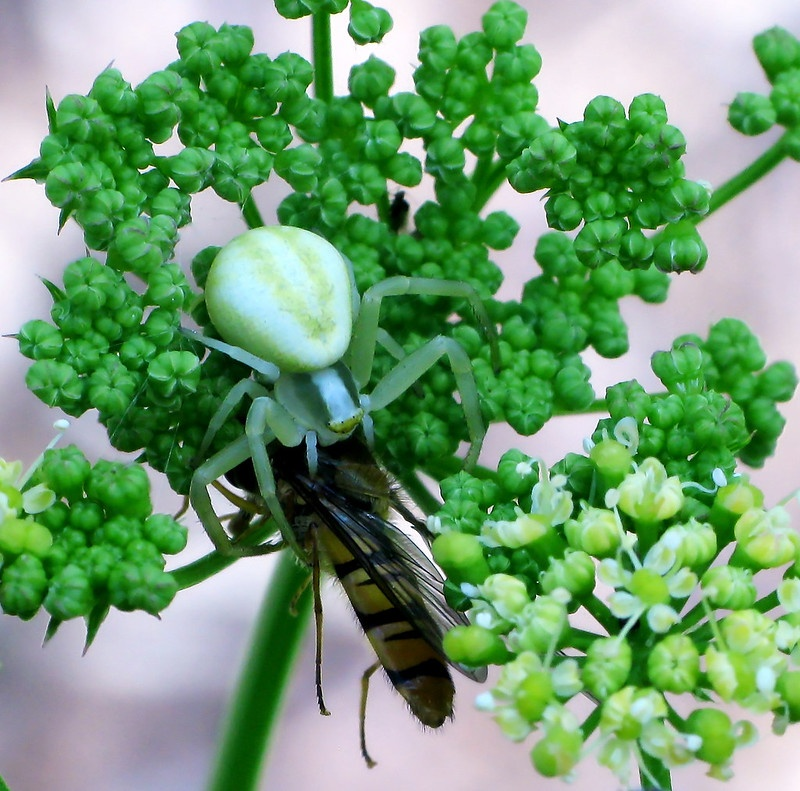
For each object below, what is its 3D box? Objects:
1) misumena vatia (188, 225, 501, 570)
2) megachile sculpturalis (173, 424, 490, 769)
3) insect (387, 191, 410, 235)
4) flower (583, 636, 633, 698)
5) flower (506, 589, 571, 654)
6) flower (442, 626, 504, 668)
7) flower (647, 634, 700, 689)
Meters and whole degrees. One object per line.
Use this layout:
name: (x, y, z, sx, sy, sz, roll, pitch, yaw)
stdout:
misumena vatia: (-0.073, 0.014, 1.119, 0.379, 0.429, 0.120, -25, 1, -19)
megachile sculpturalis: (-0.064, 0.223, 1.318, 0.304, 0.468, 0.139, -17, -19, -22)
insect: (-0.001, -0.274, 1.430, 0.034, 0.056, 0.015, 3, -5, -8)
flower: (0.205, 0.256, 0.920, 0.040, 0.066, 0.025, 11, -6, 11)
flower: (0.141, 0.238, 0.962, 0.065, 0.067, 0.056, -8, -44, 9)
flower: (0.074, 0.253, 0.966, 0.054, 0.038, 0.032, 19, 23, 3)
flower: (0.278, 0.265, 0.950, 0.048, 0.047, 0.028, -31, 1, -18)
